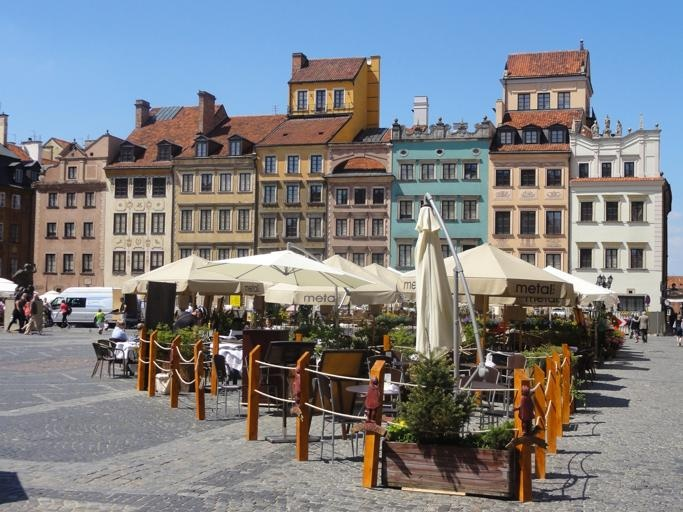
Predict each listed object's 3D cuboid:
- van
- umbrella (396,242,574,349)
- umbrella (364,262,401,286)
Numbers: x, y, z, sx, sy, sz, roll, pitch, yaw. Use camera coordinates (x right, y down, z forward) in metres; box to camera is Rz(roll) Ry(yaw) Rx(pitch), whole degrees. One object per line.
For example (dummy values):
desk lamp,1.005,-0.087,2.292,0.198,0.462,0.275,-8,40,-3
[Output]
van,-14.915,2.932,63.568,3.790,2.023,2.259,1,-4,-1
umbrella,4.128,1.250,31.040,3.822,1.482,3.925,-1,3,20
umbrella,1.225,0.567,32.736,0.844,0.250,0.632,26,8,-15
